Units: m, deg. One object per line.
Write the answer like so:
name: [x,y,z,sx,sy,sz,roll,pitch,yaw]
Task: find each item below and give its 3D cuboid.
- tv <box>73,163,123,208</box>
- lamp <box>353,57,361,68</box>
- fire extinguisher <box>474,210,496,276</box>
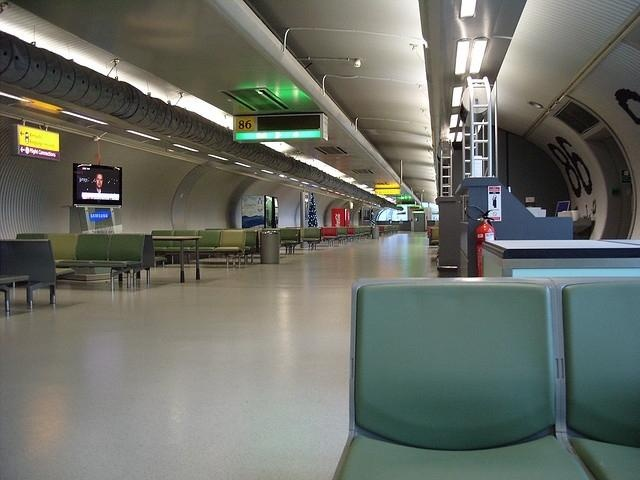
tv: [-6.620,-1.586,12.746,0.182,1.253,1.378,-1,-1,39]
lamp: [0.928,-4.514,10.883,0.145,0.157,0.165,21,-12,0]
fire extinguisher: [1.941,0.039,5.271,0.162,0.726,0.174,23,34,37]
